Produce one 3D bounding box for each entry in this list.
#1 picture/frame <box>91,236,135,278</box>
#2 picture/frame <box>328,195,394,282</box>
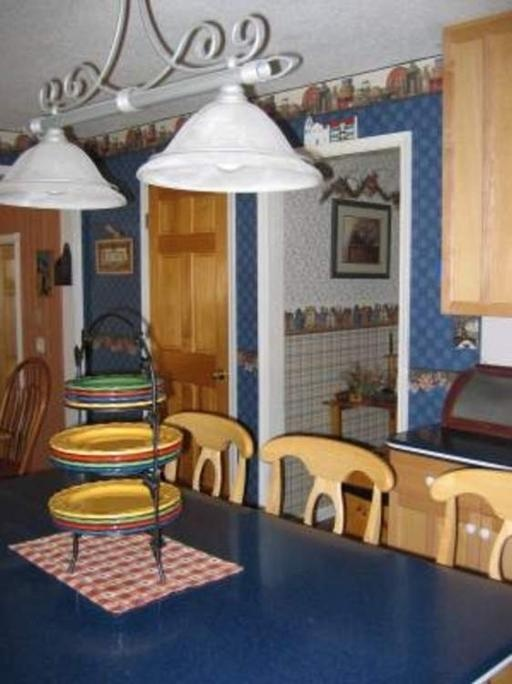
[{"bbox_3d":[-1.118,-0.668,4.476,0.480,0.302,0.047,-1,0,42],"label":"picture/frame"},{"bbox_3d":[0.776,-0.787,4.308,0.028,0.577,0.678,2,6,37],"label":"picture/frame"}]
